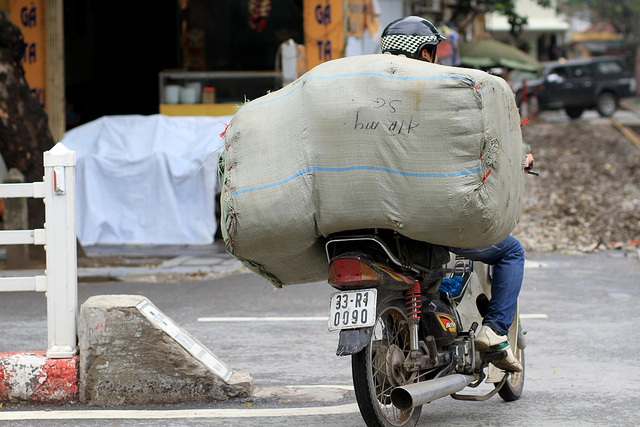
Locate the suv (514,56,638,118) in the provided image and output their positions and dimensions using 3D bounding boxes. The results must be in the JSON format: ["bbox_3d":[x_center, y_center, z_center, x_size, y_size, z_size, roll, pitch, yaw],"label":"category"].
[{"bbox_3d":[7.810,-3.864,50.650,3.230,1.492,1.892,1,4,-1],"label":"suv"}]
